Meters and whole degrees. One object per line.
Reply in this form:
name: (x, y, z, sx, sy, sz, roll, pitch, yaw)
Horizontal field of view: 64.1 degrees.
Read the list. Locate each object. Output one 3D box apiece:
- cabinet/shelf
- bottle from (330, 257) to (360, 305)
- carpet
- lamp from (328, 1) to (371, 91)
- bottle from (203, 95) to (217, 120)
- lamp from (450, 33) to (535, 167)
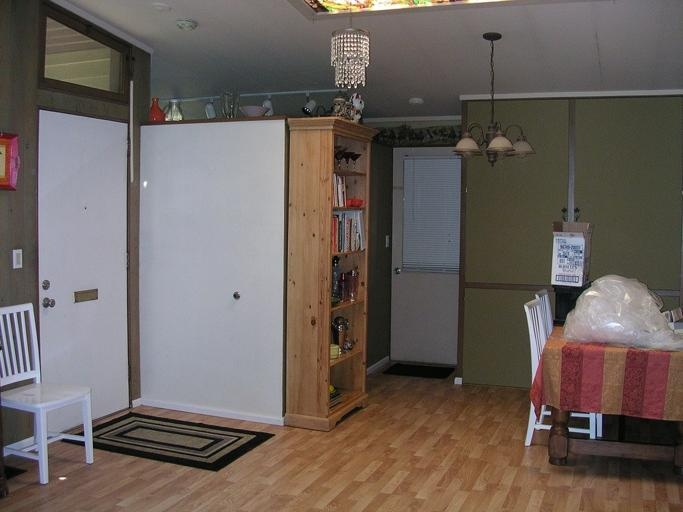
cabinet/shelf: (-0.115, 0.141, 5.001, 0.585, 2.677, 0.890, 2, 5, 18)
bottle: (0.021, 0.242, 5.143, 0.146, 0.418, 0.431, -3, -4, 26)
carpet: (-1.339, 1.494, 4.434, 1.411, 0.038, 0.728, 2, 5, 16)
lamp: (0.055, -1.342, 3.697, 0.244, 0.352, 0.237, 1, 5, -1)
bottle: (-1.495, -1.692, 6.219, 0.144, 0.294, 0.449, 0, 5, -14)
lamp: (1.253, -1.325, 4.530, 0.663, 1.026, 0.625, 3, 8, 32)
